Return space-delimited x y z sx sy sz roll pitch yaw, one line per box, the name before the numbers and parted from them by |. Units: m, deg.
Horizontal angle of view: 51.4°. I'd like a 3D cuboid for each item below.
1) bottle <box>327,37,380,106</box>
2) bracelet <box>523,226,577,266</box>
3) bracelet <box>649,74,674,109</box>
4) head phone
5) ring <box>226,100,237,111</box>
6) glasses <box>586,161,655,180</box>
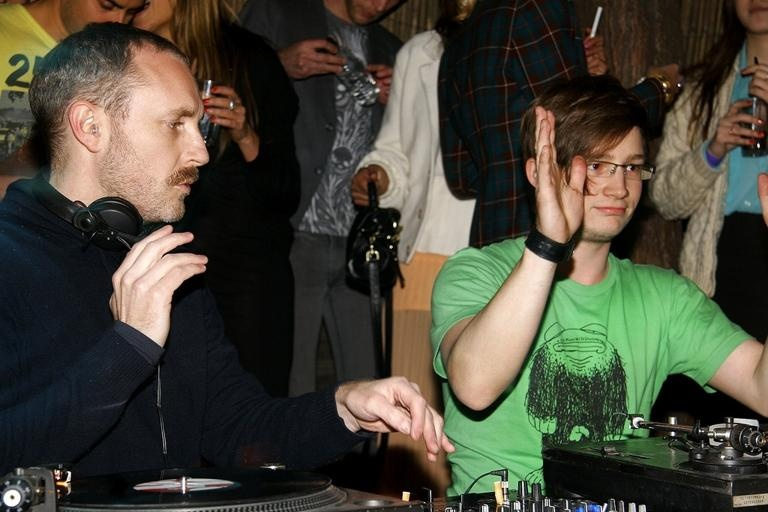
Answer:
bottle | -0.142 -0.954 4.310 0.096 0.410 0.218 1 39 51
bracelet | 0.493 -0.027 2.397 0.115 0.061 0.115 28 5 0
bracelet | 1.564 -0.956 4.474 0.114 0.131 0.309 -1 31 8
head phone | -0.929 -0.138 2.469 0.306 0.135 0.275 40 11 14
ring | -0.695 -0.691 3.651 0.022 0.037 0.038 12 26 22
glasses | 0.860 -0.321 2.947 0.124 0.035 0.120 3 -13 -14
